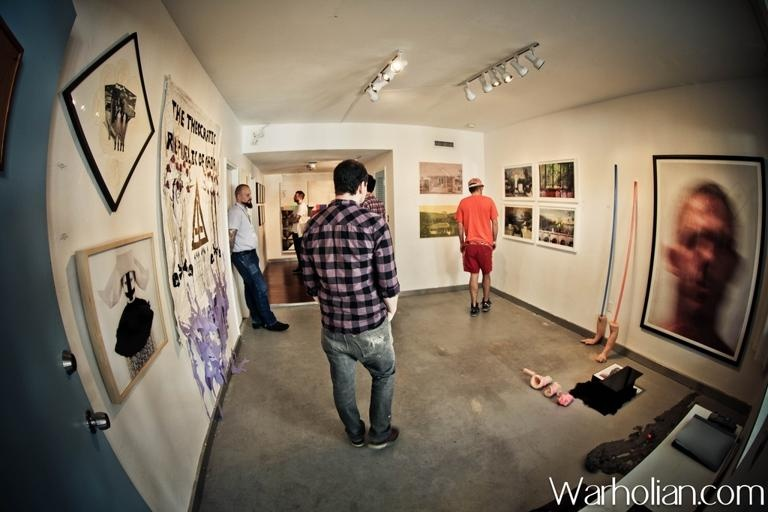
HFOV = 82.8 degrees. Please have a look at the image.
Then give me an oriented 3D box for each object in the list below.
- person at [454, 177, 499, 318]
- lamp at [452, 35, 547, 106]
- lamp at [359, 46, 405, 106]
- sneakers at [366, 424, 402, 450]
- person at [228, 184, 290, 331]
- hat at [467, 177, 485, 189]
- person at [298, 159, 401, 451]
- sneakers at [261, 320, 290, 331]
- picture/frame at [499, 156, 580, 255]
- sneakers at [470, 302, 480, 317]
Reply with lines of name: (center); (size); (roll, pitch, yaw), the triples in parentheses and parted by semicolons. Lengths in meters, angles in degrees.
person: (0.889, -0.089, 4.375); (0.414, 1.349, 0.522); (9, 18, 39)
lamp: (0.820, -1.263, 3.019); (0.364, 0.258, 0.897); (-7, 16, -14)
lamp: (0.012, -1.259, 3.023); (0.106, 0.111, 0.459); (22, -9, -13)
sneakers: (0.001, 0.968, 2.398); (0.076, 0.097, 0.199); (5, 9, 43)
person: (-1.134, 0.025, 3.916); (0.424, 1.331, 0.493); (-6, 14, -14)
hat: (0.904, -0.741, 4.359); (0.118, 0.089, 0.209); (-1, 15, 8)
person: (-0.172, 0.272, 2.250); (0.451, 1.493, 0.304); (-5, 14, -11)
sneakers: (-1.004, 0.626, 4.018); (0.238, 0.112, 0.091); (-3, 4, -1)
picture/frame: (1.462, -0.485, 4.070); (0.026, 0.812, 0.964); (-2, 5, -20)
sneakers: (0.885, 0.524, 4.299); (0.100, 0.135, 0.296); (-2, -4, 12)
